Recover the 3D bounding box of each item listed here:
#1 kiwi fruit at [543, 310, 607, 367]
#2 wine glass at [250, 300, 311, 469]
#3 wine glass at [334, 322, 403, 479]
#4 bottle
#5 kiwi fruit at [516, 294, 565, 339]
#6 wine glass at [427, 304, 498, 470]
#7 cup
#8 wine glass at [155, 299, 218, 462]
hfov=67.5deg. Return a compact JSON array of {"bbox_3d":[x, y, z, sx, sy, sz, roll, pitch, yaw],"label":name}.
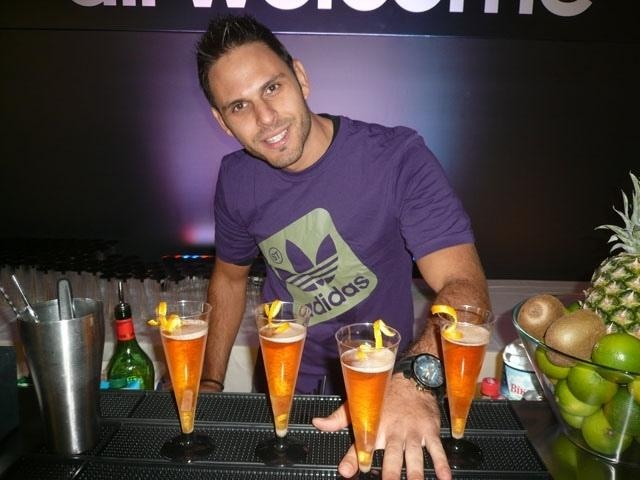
[{"bbox_3d":[0.637,0.228,1.207,0.141,0.098,0.103,-18,7,17],"label":"kiwi fruit"},{"bbox_3d":[-0.091,0.356,1.207,0.105,0.377,0.145,2,6,23],"label":"wine glass"},{"bbox_3d":[0.111,0.341,1.128,0.141,0.373,0.151,1,9,3],"label":"wine glass"},{"bbox_3d":[-0.647,0.370,1.578,0.132,0.411,0.151,5,11,13],"label":"bottle"},{"bbox_3d":[0.583,0.198,1.262,0.112,0.121,0.099,7,18,24],"label":"kiwi fruit"},{"bbox_3d":[0.355,0.348,1.208,0.136,0.384,0.141,7,12,28],"label":"wine glass"},{"bbox_3d":[-0.635,0.334,1.200,0.143,0.477,0.157,4,11,-1],"label":"cup"},{"bbox_3d":[-0.342,0.363,1.210,0.155,0.359,0.163,0,5,-15],"label":"wine glass"}]
